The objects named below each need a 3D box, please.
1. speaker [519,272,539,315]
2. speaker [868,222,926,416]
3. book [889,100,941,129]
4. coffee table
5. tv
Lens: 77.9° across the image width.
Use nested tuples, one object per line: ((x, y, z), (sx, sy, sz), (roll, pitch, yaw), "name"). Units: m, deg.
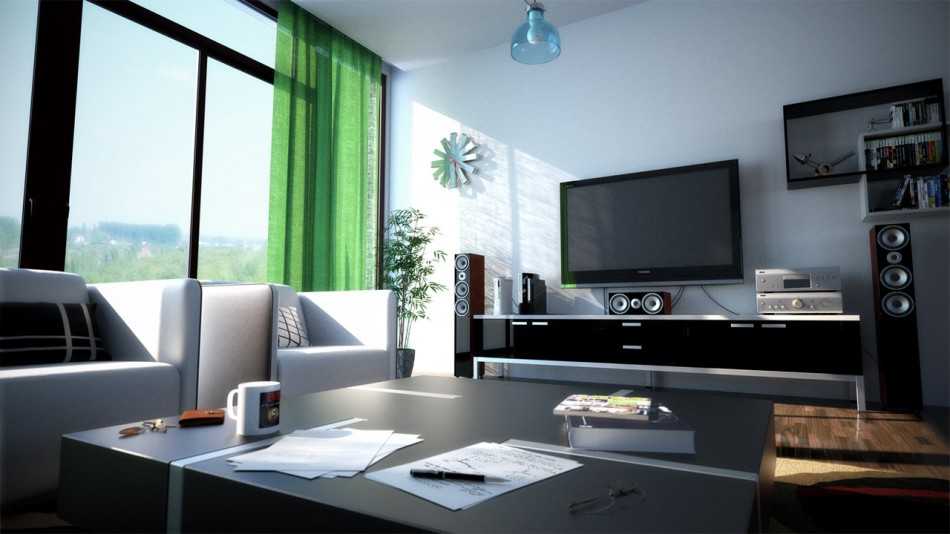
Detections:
((0.560, 0.261, 5.993), (0.215, 0.411, 0.111), (0, -1, -12), "speaker")
((3.480, 0.399, 4.873), (0.328, 1.518, 0.228), (-1, -2, 36), "speaker")
((3.751, -1.287, 4.987), (0.293, 0.250, 0.152), (2, 9, 27), "book")
((-0.194, 0.926, 2.899), (3.243, 0.505, 1.059), (0, -1, 10), "coffee table")
((1.795, -0.416, 5.711), (1.457, 0.864, 0.102), (-2, -3, 26), "tv")
